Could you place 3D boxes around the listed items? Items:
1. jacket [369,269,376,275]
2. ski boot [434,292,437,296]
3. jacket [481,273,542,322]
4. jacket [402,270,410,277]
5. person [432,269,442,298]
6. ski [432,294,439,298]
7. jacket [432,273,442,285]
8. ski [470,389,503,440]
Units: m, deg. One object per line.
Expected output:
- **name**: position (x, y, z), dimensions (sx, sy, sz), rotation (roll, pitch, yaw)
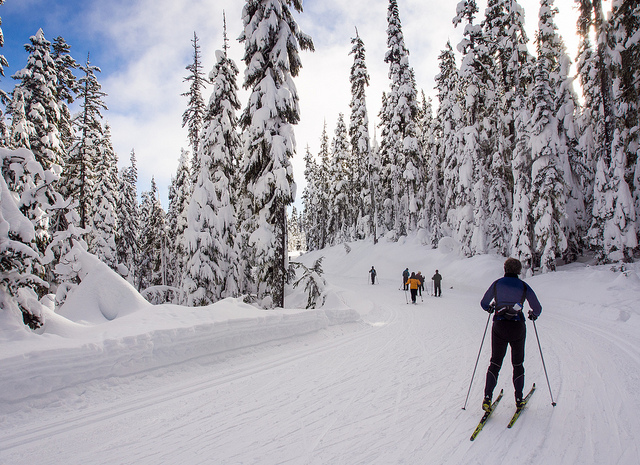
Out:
- **jacket**: position (3.993, 3.015, 38.939), dimensions (0.230, 0.408, 0.334), rotation (9, 4, -2)
- **ski boot**: position (7.001, 3.736, 30.997), dimensions (0.055, 0.239, 0.118), rotation (3, 2, -27)
- **jacket**: position (6.208, 2.054, 16.656), dimensions (1.775, 1.276, 0.475), rotation (-3, -2, -3)
- **jacket**: position (5.572, 2.661, 33.159), dimensions (0.312, 0.301, 0.479), rotation (-3, -3, 4)
- **person**: position (7.058, 3.076, 30.871), dimensions (0.421, 1.184, 0.738), rotation (-3, -2, 12)
- **ski**: position (6.987, 3.839, 30.930), dimensions (0.113, 0.301, 0.370), rotation (-1, -8, -35)
- **jacket**: position (7.067, 2.810, 30.774), dimensions (0.490, 1.146, 0.525), rotation (0, -3, -30)
- **ski**: position (5.308, 5.858, 16.233), dimensions (0.134, 0.268, 1.631), rotation (7, 54, 46)
